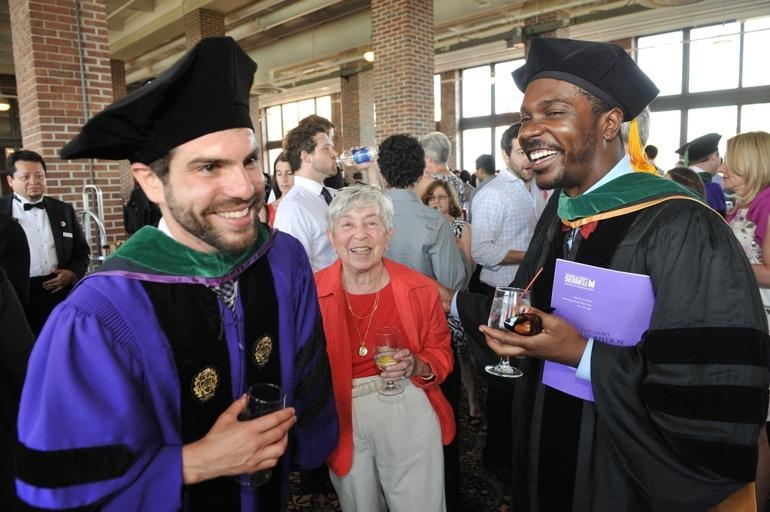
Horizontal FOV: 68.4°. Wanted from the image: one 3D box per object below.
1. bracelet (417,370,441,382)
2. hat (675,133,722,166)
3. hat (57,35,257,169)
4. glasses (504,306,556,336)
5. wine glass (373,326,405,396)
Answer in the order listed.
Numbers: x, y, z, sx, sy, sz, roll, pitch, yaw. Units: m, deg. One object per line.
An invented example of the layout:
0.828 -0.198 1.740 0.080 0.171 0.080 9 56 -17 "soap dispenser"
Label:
0.242 0.679 3.163 0.059 0.042 0.074 -3 12 -21 "bracelet"
3.538 -1.213 6.510 0.366 0.149 0.432 -22 9 7 "hat"
-0.899 -0.625 2.442 0.818 0.350 0.871 -23 15 -36 "hat"
0.593 0.288 2.496 0.106 0.102 0.180 -4 10 -23 "glasses"
0.020 0.571 3.108 0.154 0.412 0.259 0 9 2 "wine glass"
